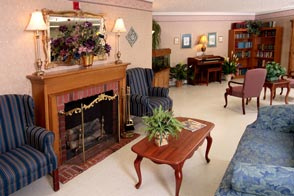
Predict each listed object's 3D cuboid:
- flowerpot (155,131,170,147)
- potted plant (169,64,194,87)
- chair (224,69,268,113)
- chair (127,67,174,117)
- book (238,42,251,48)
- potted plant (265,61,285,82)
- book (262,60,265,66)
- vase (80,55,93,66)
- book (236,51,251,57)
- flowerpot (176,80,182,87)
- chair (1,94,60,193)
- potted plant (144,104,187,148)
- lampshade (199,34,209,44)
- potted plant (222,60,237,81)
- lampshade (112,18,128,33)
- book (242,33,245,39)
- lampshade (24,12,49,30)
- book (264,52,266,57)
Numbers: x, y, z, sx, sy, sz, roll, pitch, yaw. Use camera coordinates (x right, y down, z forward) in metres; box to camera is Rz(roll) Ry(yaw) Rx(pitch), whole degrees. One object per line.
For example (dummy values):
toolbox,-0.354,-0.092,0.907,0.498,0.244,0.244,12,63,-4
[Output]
flowerpot,0.243,0.611,3.415,0.220,0.274,0.218,1,15,10
potted plant,1.430,-1.063,9.602,0.981,1.001,1.006,-3,11,-21
chair,2.855,-0.277,6.448,0.839,1.183,0.968,-5,12,-9
chair,-0.012,-0.057,5.528,1.040,1.298,1.100,10,19,32
book,4.656,-2.542,10.479,0.720,0.261,0.164,-9,16,-25
potted plant,3.870,-0.813,6.661,0.446,0.566,0.420,6,16,29
book,5.573,-1.693,10.493,0.108,0.270,0.059,0,14,7
vase,-1.161,-0.722,4.168,0.209,0.154,0.192,-8,12,-22
book,4.655,-2.136,10.636,0.919,0.292,0.273,-10,16,-30
flowerpot,1.334,-0.630,9.270,0.234,0.244,0.232,2,8,19
chair,-1.809,0.715,3.316,0.742,1.481,0.891,-8,15,-23
potted plant,0.260,0.368,3.608,0.697,0.638,0.692,6,16,15
lampshade,2.528,-2.643,9.792,0.498,0.432,0.380,-6,15,-14
potted plant,3.647,-1.296,10.412,0.774,0.935,0.824,-3,9,-17
lampshade,-0.662,-1.676,5.010,0.360,0.305,0.343,-11,30,-21
book,4.538,-2.969,10.393,0.172,0.215,0.107,-10,16,-29
lampshade,-1.783,-1.222,3.472,0.320,0.267,0.141,-7,15,-20
book,5.540,-2.071,10.320,0.022,0.212,0.113,-7,15,-20
